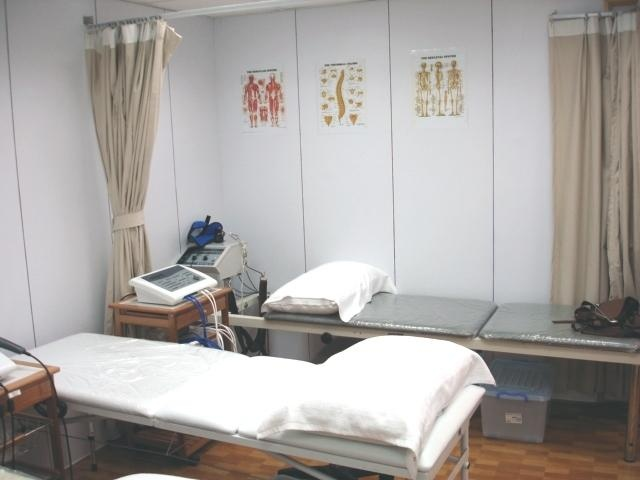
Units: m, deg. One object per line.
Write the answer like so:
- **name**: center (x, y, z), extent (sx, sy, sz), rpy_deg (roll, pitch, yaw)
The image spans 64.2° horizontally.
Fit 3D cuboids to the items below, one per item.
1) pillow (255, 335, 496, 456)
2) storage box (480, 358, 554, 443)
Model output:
- **pillow**: center (0.296, 0.758, 2.430), extent (0.652, 0.267, 0.989), rpy_deg (6, 15, 26)
- **storage box**: center (1.386, 1.111, 3.593), extent (0.394, 0.351, 0.529), rpy_deg (1, 3, 23)
